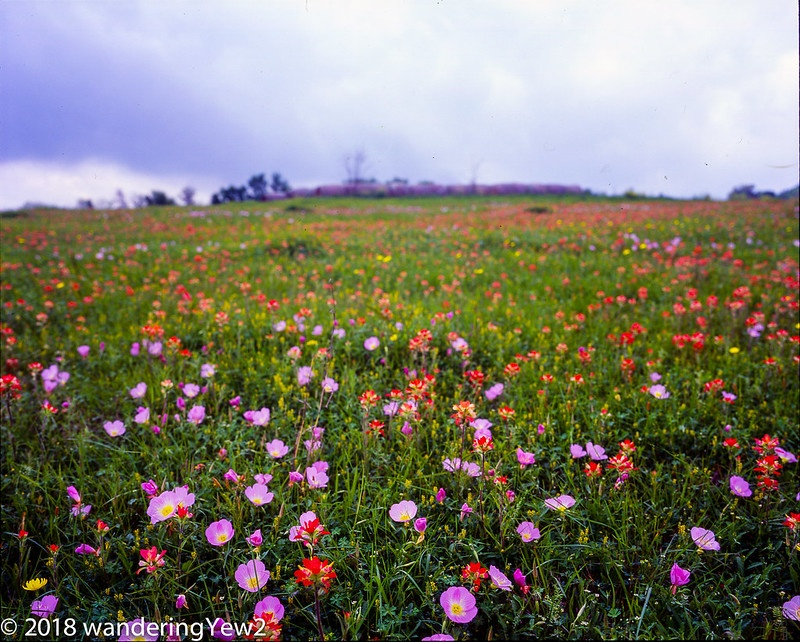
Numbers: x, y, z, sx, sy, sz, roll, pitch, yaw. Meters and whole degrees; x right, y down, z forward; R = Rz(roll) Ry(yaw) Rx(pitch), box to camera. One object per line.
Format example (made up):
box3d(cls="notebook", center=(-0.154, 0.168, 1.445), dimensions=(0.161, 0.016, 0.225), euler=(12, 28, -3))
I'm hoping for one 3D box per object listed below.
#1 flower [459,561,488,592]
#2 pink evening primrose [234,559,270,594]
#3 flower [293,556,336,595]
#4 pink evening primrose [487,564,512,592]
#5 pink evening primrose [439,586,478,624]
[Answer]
box3d(cls="flower", center=(0.367, 1.229, 3.125), dimensions=(0.145, 0.069, 0.176), euler=(-8, 57, -6))
box3d(cls="pink evening primrose", center=(-0.733, 1.275, 3.145), dimensions=(0.171, 0.216, 0.134), euler=(-1, 12, -18))
box3d(cls="flower", center=(-0.392, 1.151, 2.969), dimensions=(0.182, 0.237, 0.103), euler=(-2, -8, -5))
box3d(cls="pink evening primrose", center=(0.494, 1.273, 3.146), dimensions=(0.112, 0.115, 0.096), euler=(5, 12, 10))
box3d(cls="pink evening primrose", center=(0.304, 1.357, 3.050), dimensions=(0.208, 0.147, 0.118), euler=(-2, 12, -23))
